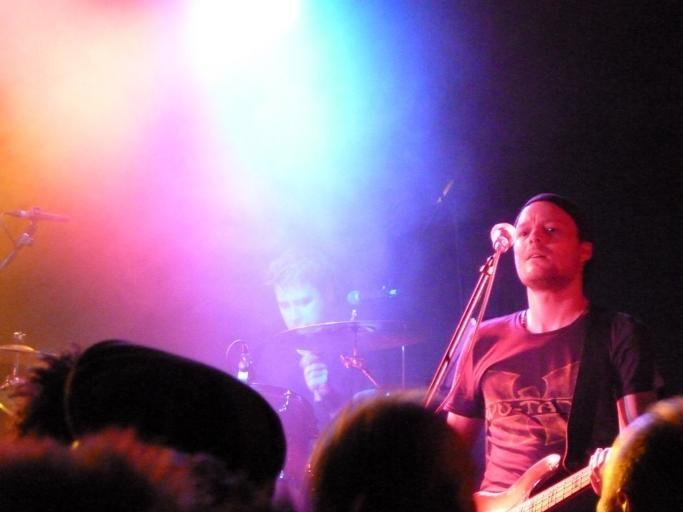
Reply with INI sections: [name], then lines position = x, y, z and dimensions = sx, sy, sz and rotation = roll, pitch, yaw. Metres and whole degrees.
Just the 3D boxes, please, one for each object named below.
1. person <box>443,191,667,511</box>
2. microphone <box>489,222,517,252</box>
[person]
position = 1.208, 0.561, 3.509
dimensions = 1.244, 1.986, 1.120
rotation = -12, -38, 40
[microphone]
position = 0.928, -0.098, 3.473
dimensions = 0.163, 0.181, 0.189
rotation = 5, 32, 14
